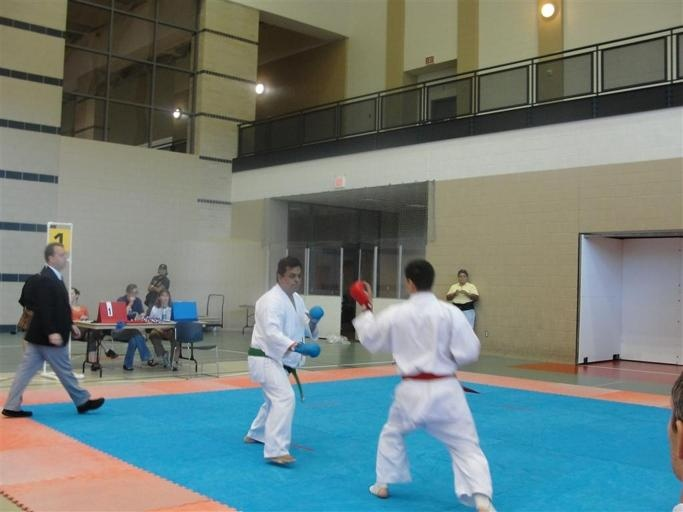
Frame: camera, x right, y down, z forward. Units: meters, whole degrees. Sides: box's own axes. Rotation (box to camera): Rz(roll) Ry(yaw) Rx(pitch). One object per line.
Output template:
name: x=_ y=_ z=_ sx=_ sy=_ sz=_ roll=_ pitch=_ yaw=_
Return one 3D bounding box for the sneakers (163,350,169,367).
sneakers: x=-3.538 y=2.099 z=12.150 sx=0.144 sy=0.246 sz=0.088 roll=-7 pitch=-17 yaw=26

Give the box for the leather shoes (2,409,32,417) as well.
leather shoes: x=-4.237 y=2.031 z=7.777 sx=0.298 sy=0.132 sz=0.102 roll=4 pitch=-1 yaw=-24

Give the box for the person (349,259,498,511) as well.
person: x=0.741 y=1.141 z=5.392 sx=1.222 sy=2.214 sz=0.334 roll=-1 pitch=-1 yaw=23

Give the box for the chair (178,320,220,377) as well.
chair: x=-3.037 y=1.982 z=12.638 sx=0.876 sy=1.629 sz=0.981 roll=3 pitch=-8 yaw=-33

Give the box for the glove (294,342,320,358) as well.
glove: x=-0.383 y=0.999 z=6.313 sx=0.156 sy=0.106 sz=0.269 roll=-7 pitch=-2 yaw=-34
